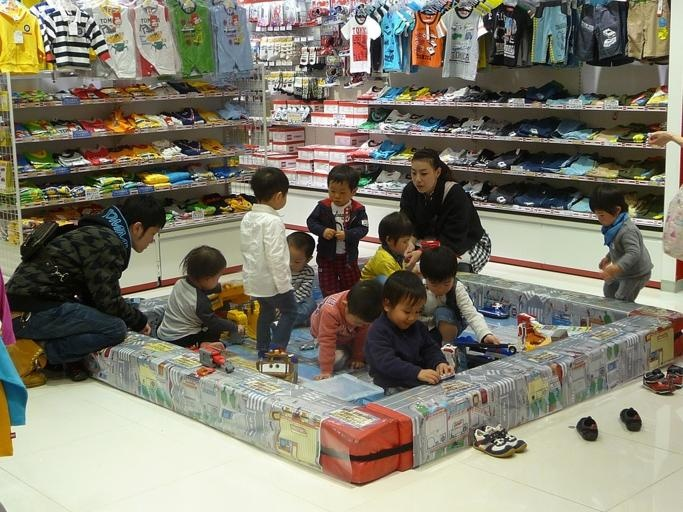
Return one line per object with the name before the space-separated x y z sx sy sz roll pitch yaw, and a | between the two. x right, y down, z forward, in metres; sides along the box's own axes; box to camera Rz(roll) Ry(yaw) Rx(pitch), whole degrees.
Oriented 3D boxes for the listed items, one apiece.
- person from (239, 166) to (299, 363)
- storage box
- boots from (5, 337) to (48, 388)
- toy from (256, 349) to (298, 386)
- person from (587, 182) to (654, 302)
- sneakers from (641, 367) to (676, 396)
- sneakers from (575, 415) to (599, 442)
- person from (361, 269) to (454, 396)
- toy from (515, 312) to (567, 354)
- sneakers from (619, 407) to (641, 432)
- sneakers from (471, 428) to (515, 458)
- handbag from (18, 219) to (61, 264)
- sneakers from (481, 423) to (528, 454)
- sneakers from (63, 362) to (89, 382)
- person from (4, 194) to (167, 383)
person | -0.489 0.072 3.189 0.350 1.327 0.533 -4 8 -9
storage box | -0.463 -1.678 7.023 2.494 1.420 0.865 9 15 36
boots | -1.925 0.659 2.996 0.157 0.329 0.250 -4 8 -8
toy | -0.380 0.609 2.773 0.228 0.119 0.213 0 5 -13
person | 2.148 -0.071 3.683 0.404 0.913 0.627 3 9 33
sneakers | 1.847 0.731 2.780 0.132 0.050 0.159 -15 14 -35
sneakers | 1.165 0.821 2.266 0.065 0.045 0.118 -2 11 5
person | 0.346 0.428 2.486 0.451 0.673 0.327 -2 8 3
toy | 1.318 0.511 3.197 0.294 0.161 0.290 7 13 41
sneakers | 1.419 0.811 2.369 0.060 0.051 0.137 -5 13 7
sneakers | 0.685 0.839 2.150 0.083 0.056 0.158 -12 12 -43
handbag | -1.837 -0.153 2.929 0.102 0.213 0.320 18 18 4
sneakers | 0.732 0.838 2.183 0.201 0.087 0.175 -7 9 -36
sneakers | -1.732 0.760 3.132 0.080 0.084 0.230 -4 4 -43
person | -1.640 0.018 3.545 1.391 1.391 0.987 -1 20 -31
